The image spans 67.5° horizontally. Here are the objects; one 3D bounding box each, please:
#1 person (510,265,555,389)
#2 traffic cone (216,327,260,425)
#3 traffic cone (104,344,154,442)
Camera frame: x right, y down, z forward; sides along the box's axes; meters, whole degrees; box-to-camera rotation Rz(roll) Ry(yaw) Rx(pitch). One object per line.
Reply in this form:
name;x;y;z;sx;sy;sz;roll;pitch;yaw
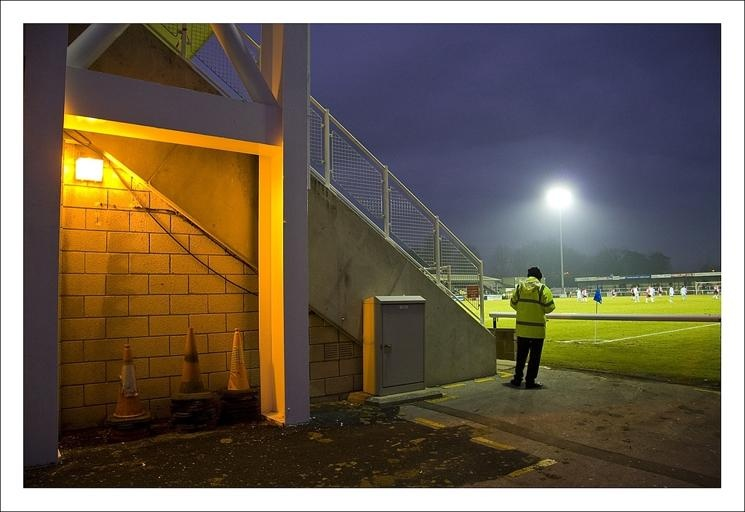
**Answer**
person;3.189;1.397;11.209;0.797;2.361;1.279;0;3;15
traffic cone;-2.118;1.923;8.909;0.623;1.382;0.458;-1;3;-13
traffic cone;-3.618;2.001;8.231;0.636;1.327;0.414;-1;3;-4
